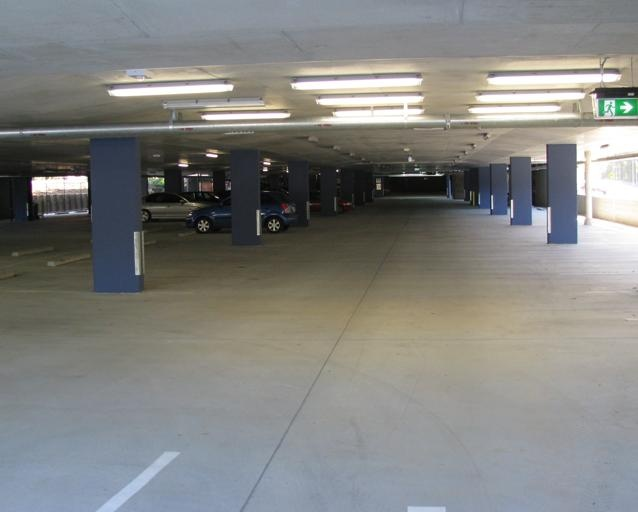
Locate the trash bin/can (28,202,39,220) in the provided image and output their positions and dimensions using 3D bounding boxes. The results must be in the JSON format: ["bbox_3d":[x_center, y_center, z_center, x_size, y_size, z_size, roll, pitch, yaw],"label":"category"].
[{"bbox_3d":[-18.920,-2.990,34.528,0.479,1.198,0.780,0,-1,-18],"label":"trash bin/can"}]
